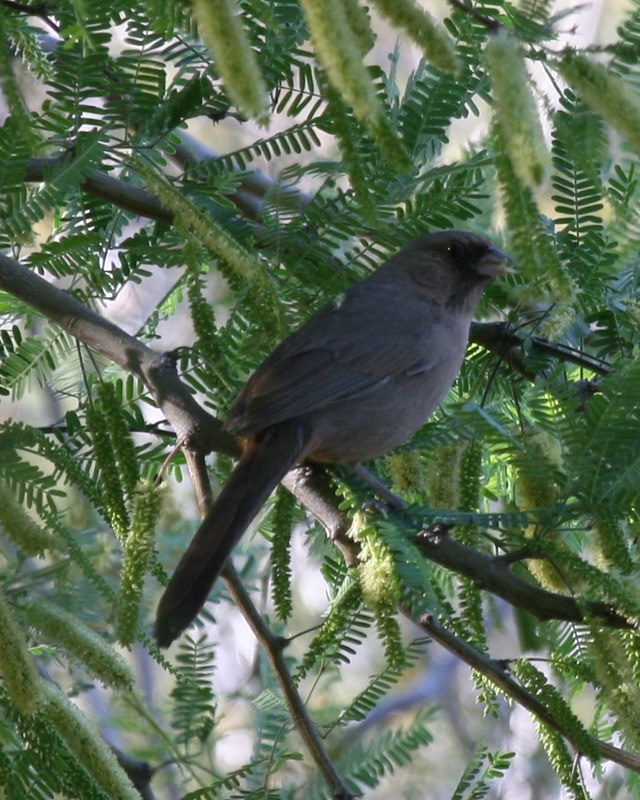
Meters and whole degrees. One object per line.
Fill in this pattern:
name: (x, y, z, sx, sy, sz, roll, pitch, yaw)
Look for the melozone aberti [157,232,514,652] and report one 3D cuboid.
melozone aberti: (-0.026, -0.007, 2.521, 0.317, 1.109, 0.469, 6, -67, 60)
